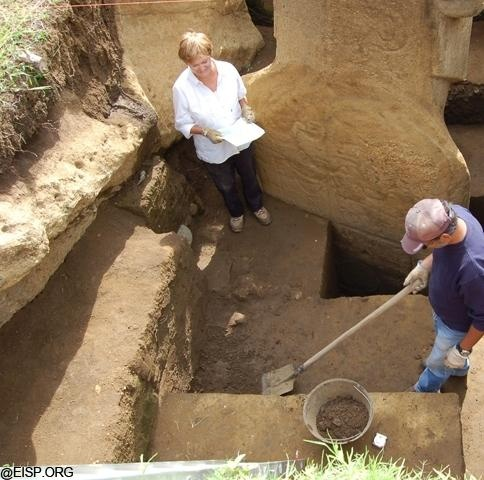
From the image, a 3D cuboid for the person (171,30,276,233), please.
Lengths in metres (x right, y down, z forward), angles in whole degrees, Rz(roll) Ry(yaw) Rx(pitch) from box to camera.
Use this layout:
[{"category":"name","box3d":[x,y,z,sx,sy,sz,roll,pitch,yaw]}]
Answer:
[{"category":"person","box3d":[-0.093,-0.717,3.522,0.525,1.534,0.520,-26,39,-9]}]

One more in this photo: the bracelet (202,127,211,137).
[{"category":"bracelet","box3d":[-0.242,-0.742,3.287,0.040,0.060,0.028,2,26,10]}]

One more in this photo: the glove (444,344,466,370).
[{"category":"glove","box3d":[1.173,0.649,2.593,0.093,0.124,0.135,16,57,26]}]

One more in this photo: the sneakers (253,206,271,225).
[{"category":"sneakers","box3d":[0.201,-0.217,4.305,0.097,0.195,0.080,-39,-12,19]}]

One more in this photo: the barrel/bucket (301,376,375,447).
[{"category":"barrel/bucket","box3d":[0.544,0.973,2.652,0.389,0.169,0.372,-11,37,8]}]

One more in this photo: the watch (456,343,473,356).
[{"category":"watch","box3d":[1.198,0.587,2.534,0.049,0.041,0.071,22,20,-6]}]
